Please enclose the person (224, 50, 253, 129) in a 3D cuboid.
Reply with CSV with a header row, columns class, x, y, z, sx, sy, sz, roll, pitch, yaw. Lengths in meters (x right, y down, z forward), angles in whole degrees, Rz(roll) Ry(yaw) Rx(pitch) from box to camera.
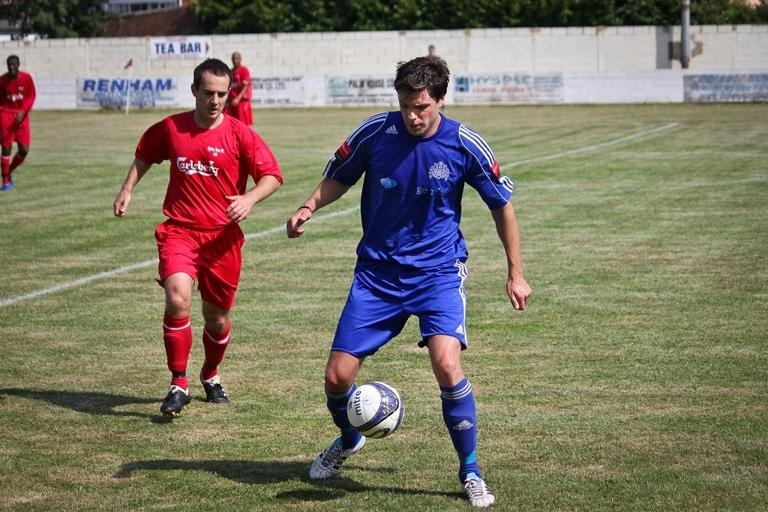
class,x,y,z,sx,sy,sz,roll,pitch,yaw
person,-4.271,-4.449,43.341,1.160,2.556,0.907,4,9,1
